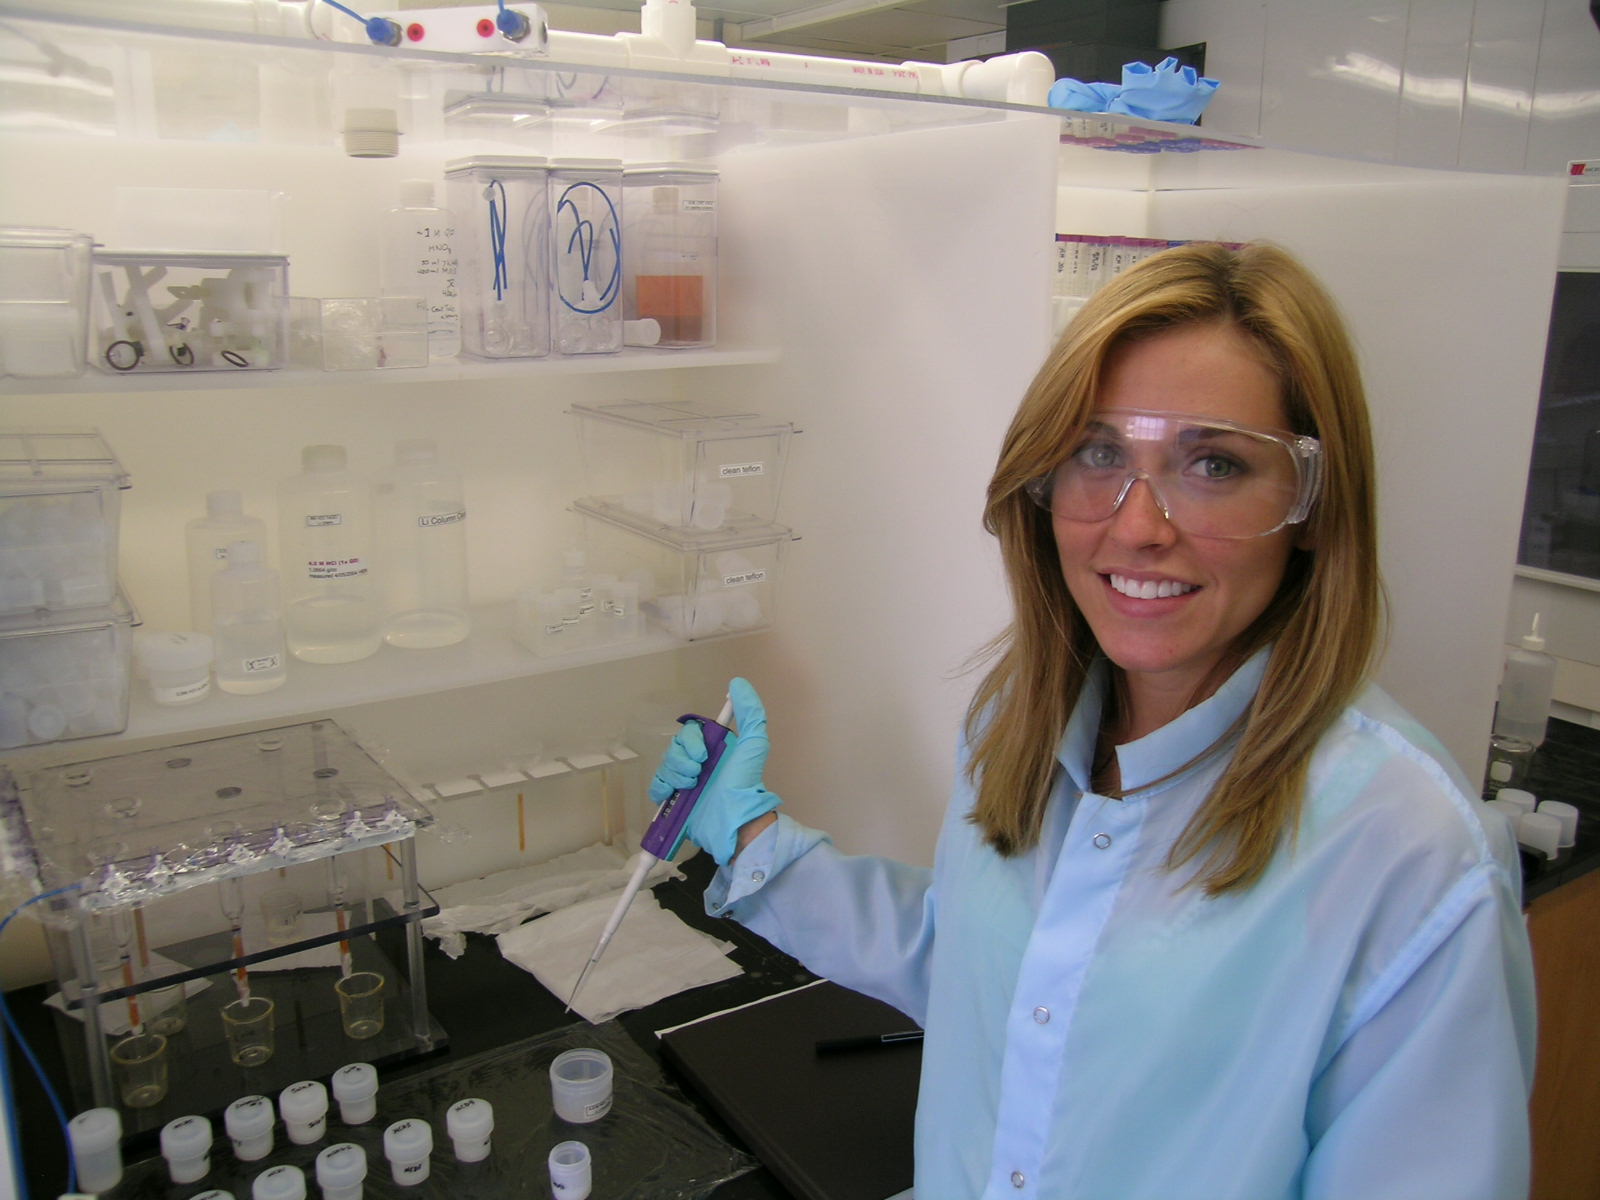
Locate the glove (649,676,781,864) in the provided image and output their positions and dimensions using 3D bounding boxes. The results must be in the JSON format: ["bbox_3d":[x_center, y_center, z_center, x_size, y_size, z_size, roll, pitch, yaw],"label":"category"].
[{"bbox_3d":[-0.109,0.261,1.728,0.091,0.256,0.251,28,-1,-36],"label":"glove"}]

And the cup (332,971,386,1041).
[{"bbox_3d":[-0.697,0.642,1.854,0.077,0.078,0.086,-9,15,-21],"label":"cup"}]

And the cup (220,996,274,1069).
[{"bbox_3d":[-0.848,0.660,1.791,0.081,0.091,0.087,-3,-7,0],"label":"cup"}]

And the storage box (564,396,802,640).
[{"bbox_3d":[-0.244,-0.212,2.355,0.390,0.529,0.584,-7,17,-35],"label":"storage box"}]

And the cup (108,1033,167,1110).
[{"bbox_3d":[-0.963,0.684,1.698,0.076,0.091,0.094,-1,-6,-8],"label":"cup"}]

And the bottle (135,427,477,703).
[{"bbox_3d":[-0.791,-0.073,1.919,0.591,0.354,0.291,-15,17,-37],"label":"bottle"}]

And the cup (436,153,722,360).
[{"bbox_3d":[-0.382,-0.571,1.926,0.364,0.236,0.119,-13,25,-34],"label":"cup"}]

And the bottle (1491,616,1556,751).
[{"bbox_3d":[1.867,0.210,2.985,0.142,0.323,0.125,-3,16,3],"label":"bottle"}]
